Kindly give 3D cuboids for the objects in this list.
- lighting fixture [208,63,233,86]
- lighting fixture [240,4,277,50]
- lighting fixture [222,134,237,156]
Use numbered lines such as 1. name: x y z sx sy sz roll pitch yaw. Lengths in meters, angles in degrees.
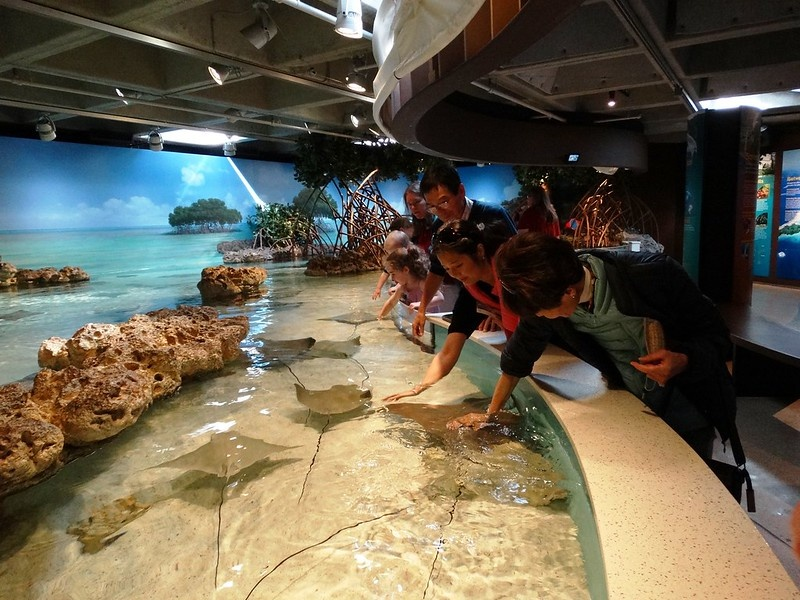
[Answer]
1. lighting fixture: -2.461 -3.128 6.208 0.225 0.249 0.373 -5 10 -12
2. lighting fixture: -1.710 -3.315 5.441 0.311 0.457 0.503 -12 13 -37
3. lighting fixture: -4.833 -4.339 12.682 0.452 0.614 0.335 -5 -4 -12
